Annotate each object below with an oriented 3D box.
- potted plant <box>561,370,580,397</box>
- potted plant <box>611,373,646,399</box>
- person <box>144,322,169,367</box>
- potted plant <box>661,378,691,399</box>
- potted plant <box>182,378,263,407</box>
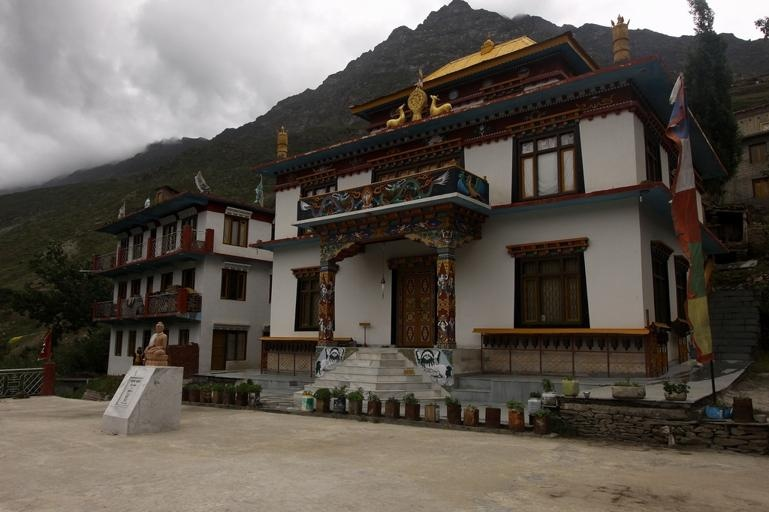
[{"bbox_3d":[5.222,3.645,15.515,0.411,0.544,0.444,-2,-16,15],"label":"potted plant"},{"bbox_3d":[6.620,3.574,14.947,0.642,0.553,0.832,-4,-9,21],"label":"potted plant"},{"bbox_3d":[-6.825,2.592,16.524,0.593,1.311,1.016,10,-17,-24],"label":"person"},{"bbox_3d":[7.551,3.469,14.309,0.527,0.490,0.387,-3,-16,18],"label":"potted plant"},{"bbox_3d":[-5.969,4.971,20.200,3.598,0.865,0.841,-9,-19,36],"label":"potted plant"}]
